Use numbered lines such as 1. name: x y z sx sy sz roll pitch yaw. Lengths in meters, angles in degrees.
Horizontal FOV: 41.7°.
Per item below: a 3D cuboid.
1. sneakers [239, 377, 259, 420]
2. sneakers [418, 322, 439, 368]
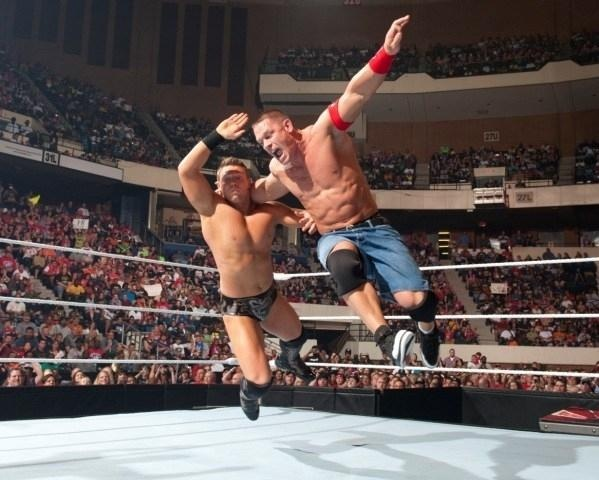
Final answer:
1. sneakers: -0.642 2.055 10.133 0.208 0.586 0.260 -2 -14 -24
2. sneakers: 1.644 1.323 9.896 0.200 0.554 0.248 -4 8 9
